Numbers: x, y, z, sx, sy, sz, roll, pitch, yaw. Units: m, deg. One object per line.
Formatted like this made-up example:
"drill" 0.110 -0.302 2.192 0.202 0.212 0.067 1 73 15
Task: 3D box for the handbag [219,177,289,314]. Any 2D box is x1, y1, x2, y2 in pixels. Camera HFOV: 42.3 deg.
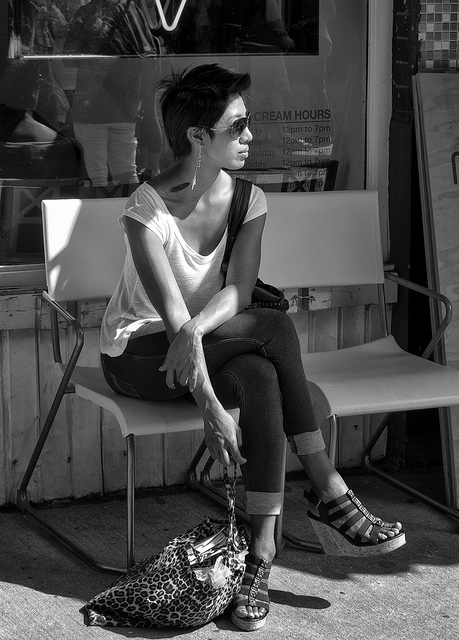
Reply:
"handbag" 0.057 -0.193 1.467 0.171 0.348 0.193 1 2 6

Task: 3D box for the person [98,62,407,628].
"person" 0.006 0.030 1.411 0.782 1.236 0.370 1 2 16

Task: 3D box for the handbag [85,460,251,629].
"handbag" -0.155 0.473 1.293 0.332 0.358 0.294 11 6 -24

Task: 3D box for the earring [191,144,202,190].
"earring" -0.077 -0.370 1.438 0.017 0.095 0.050 0 2 -24

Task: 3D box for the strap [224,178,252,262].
"strap" 0.019 -0.257 1.507 0.041 0.176 0.100 11 -2 -27
